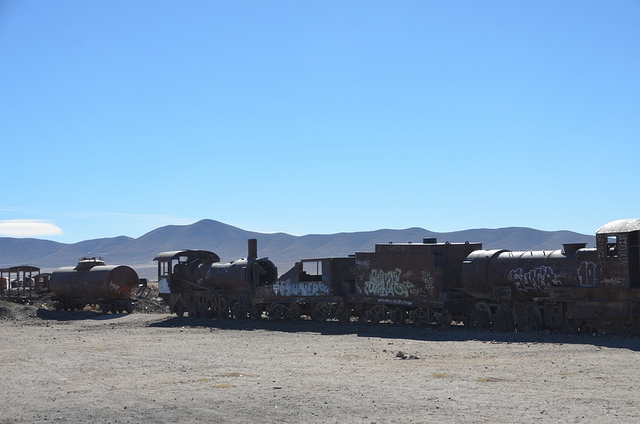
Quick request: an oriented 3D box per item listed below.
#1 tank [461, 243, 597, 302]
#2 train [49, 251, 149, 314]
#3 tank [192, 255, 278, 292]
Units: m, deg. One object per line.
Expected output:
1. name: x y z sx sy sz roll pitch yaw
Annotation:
1. tank: 11.044 2.993 31.412 6.668 2.661 2.399 -4 -3 45
2. train: -21.004 6.352 56.076 10.782 5.268 3.317 -6 -7 40
3. tank: -6.814 4.490 46.972 7.470 2.845 2.690 -6 -6 44
